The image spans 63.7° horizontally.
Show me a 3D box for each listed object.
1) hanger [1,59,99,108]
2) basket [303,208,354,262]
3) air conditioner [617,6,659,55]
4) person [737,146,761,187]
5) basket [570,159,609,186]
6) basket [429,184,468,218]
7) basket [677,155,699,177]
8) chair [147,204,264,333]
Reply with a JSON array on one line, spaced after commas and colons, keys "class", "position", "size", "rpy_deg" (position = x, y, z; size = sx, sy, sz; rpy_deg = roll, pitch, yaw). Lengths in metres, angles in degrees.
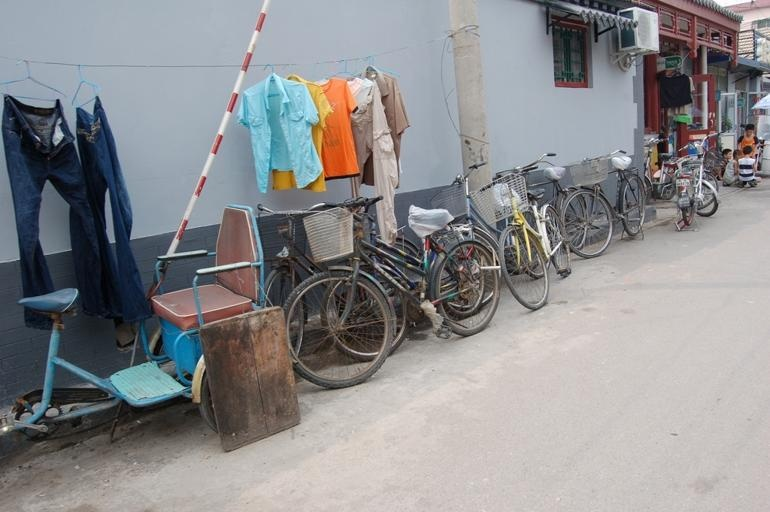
[{"class": "hanger", "position": [-3.037, -1.566, 5.629], "size": [0.795, 0.415, 0.072], "rpy_deg": [-11, 14, -29]}, {"class": "basket", "position": [-0.500, -0.200, 5.803], "size": [0.406, 0.391, 0.482], "rpy_deg": [-12, -3, -3]}, {"class": "air conditioner", "position": [4.644, -4.130, 11.434], "size": [0.947, 0.847, 0.356], "rpy_deg": [-3, 6, -43]}, {"class": "person", "position": [8.905, -2.240, 15.171], "size": [0.510, 0.965, 2.219], "rpy_deg": [4, 15, 31]}, {"class": "basket", "position": [2.855, -1.151, 8.768], "size": [0.495, 0.317, 0.386], "rpy_deg": [-13, 3, -32]}, {"class": "basket", "position": [0.718, -0.580, 6.916], "size": [0.339, 0.345, 0.106], "rpy_deg": [-18, -6, -2]}, {"class": "basket", "position": [5.022, -1.486, 10.253], "size": [0.255, 0.301, 0.535], "rpy_deg": [4, 10, 30]}, {"class": "chair", "position": [-1.564, 0.262, 5.390], "size": [0.873, 1.182, 0.855], "rpy_deg": [-15, 18, -40]}]
